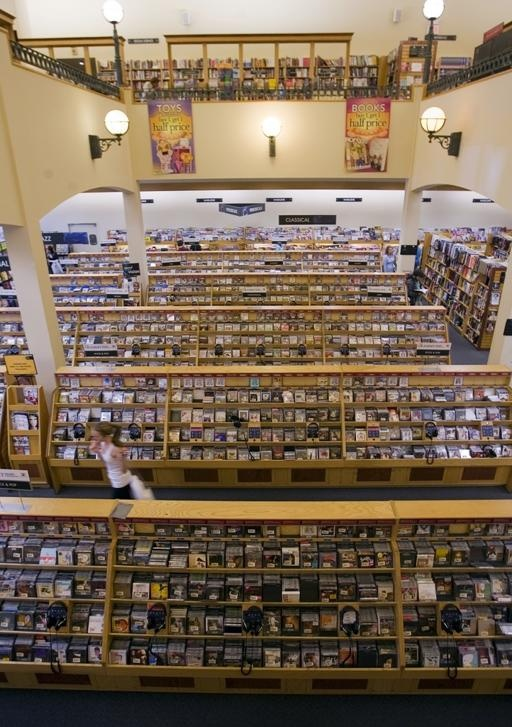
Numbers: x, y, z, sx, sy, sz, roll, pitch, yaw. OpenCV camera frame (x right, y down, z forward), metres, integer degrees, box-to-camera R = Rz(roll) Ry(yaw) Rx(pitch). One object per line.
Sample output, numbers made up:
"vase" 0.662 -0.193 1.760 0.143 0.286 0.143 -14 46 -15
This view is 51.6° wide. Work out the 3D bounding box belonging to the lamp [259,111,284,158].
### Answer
"lamp" 0.269 -4.101 9.414 0.519 0.896 0.460 -2 28 1
